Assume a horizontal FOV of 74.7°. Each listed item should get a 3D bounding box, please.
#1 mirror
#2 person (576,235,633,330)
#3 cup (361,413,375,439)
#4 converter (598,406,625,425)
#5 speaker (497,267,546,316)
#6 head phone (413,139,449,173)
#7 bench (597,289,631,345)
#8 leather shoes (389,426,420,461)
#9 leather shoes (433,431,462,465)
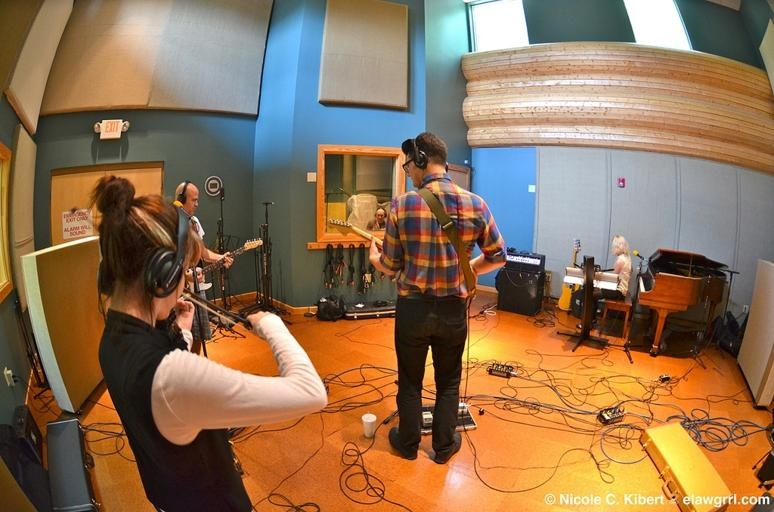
[{"bbox_3d":[-0.471,-1.011,7.648,1.636,1.939,0.138,0,5,-23],"label":"mirror"},{"bbox_3d":[3.302,0.429,7.679,0.702,1.480,1.378,3,8,22],"label":"person"},{"bbox_3d":[-0.166,1.814,5.460,0.201,0.220,0.213,1,10,0],"label":"cup"},{"bbox_3d":[2.558,1.790,5.753,0.269,0.101,0.156,-11,38,-14],"label":"converter"},{"bbox_3d":[2.268,0.588,8.554,0.800,0.815,0.476,3,-2,35],"label":"speaker"},{"bbox_3d":[0.406,-0.961,4.940,0.234,0.315,0.338,-2,-7,-14],"label":"head phone"},{"bbox_3d":[3.525,0.951,7.724,0.502,0.528,0.603,17,-26,40],"label":"bench"},{"bbox_3d":[0.140,1.959,5.280,0.165,0.289,0.410,-2,19,-19],"label":"leather shoes"},{"bbox_3d":[0.663,1.977,5.272,0.148,0.197,0.446,3,15,29],"label":"leather shoes"}]
